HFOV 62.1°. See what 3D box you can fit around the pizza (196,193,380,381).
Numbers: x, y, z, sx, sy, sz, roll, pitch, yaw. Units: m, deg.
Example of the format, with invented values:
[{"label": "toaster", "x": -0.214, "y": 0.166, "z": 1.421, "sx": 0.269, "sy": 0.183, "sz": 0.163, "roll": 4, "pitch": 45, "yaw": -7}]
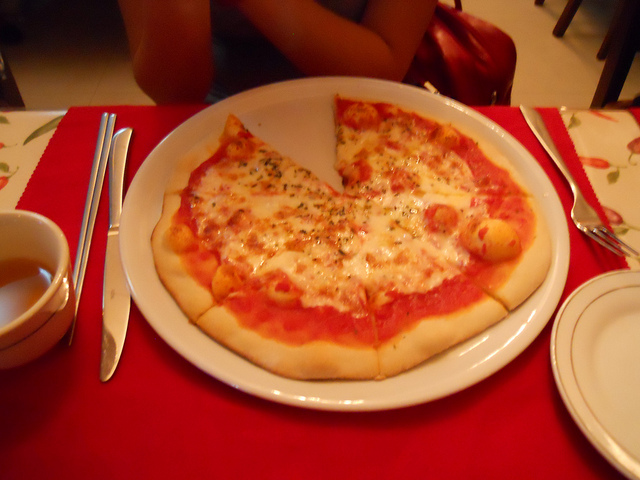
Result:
[{"label": "pizza", "x": -0.100, "y": 0.146, "z": 1.222, "sx": 0.430, "sy": 0.233, "sz": 0.382, "roll": -7, "pitch": 41, "yaw": -14}]
